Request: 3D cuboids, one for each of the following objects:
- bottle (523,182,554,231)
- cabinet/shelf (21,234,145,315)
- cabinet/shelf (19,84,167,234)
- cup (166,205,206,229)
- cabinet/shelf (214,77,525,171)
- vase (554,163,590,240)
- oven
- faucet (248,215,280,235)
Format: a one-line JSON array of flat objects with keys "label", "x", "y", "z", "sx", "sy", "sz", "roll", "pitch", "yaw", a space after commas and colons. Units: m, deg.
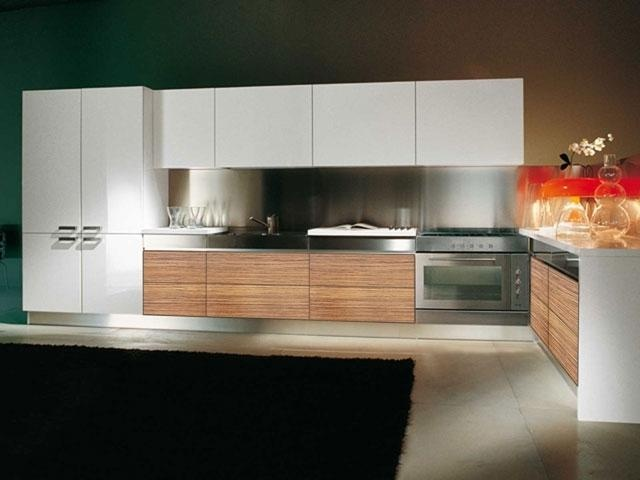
[{"label": "bottle", "x": 2.146, "y": -0.337, "z": 5.048, "sx": 0.286, "sy": 0.446, "sz": 0.121, "roll": 3, "pitch": 12, "yaw": 14}, {"label": "cabinet/shelf", "x": -2.320, "y": 0.368, "z": 5.158, "sx": 1.412, "sy": 0.913, "sz": 0.736, "roll": 0, "pitch": -1, "yaw": 5}, {"label": "cabinet/shelf", "x": -2.234, "y": -0.781, "z": 5.024, "sx": 1.398, "sy": 1.603, "sz": 0.810, "roll": -1, "pitch": -1, "yaw": 8}, {"label": "cup", "x": -1.374, "y": -0.237, "z": 5.261, "sx": 0.318, "sy": 0.165, "sz": 0.219, "roll": -1, "pitch": 1, "yaw": 0}, {"label": "cabinet/shelf", "x": 0.426, "y": -1.158, "z": 5.030, "sx": 2.822, "sy": 0.878, "sz": 0.363, "roll": 1, "pitch": 28, "yaw": 8}, {"label": "vase", "x": 2.088, "y": -0.245, "z": 4.240, "sx": 0.271, "sy": 0.513, "sz": 0.271, "roll": 14, "pitch": -15, "yaw": -11}, {"label": "oven", "x": 1.376, "y": 0.394, "z": 4.660, "sx": 0.850, "sy": 0.442, "sz": 0.549, "roll": 0, "pitch": -1, "yaw": 7}, {"label": "faucet", "x": -0.578, "y": -0.162, "z": 5.313, "sx": 0.306, "sy": 0.195, "sz": 0.320, "roll": -2, "pitch": 12, "yaw": -7}]
